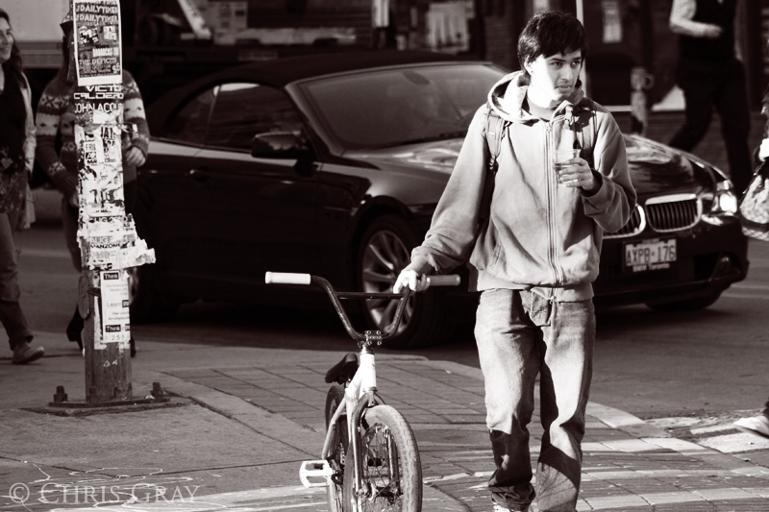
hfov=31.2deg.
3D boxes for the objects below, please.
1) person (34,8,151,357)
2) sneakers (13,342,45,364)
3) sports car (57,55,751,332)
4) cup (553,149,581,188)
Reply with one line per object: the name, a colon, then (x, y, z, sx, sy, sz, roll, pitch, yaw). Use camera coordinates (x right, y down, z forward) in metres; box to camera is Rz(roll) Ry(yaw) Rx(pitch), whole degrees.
person: (-2.218, -0.542, 10.546, 0.834, 2.731, 1.542, -3, 10, -16)
sneakers: (-2.732, 0.735, 10.535, 0.225, 0.152, 0.205, -6, 11, -33)
sports car: (-0.087, -0.495, 11.935, 5.346, 1.665, 2.381, -3, -4, 37)
cup: (0.921, -0.445, 6.873, 0.128, 0.169, 0.213, 1, 9, 8)
